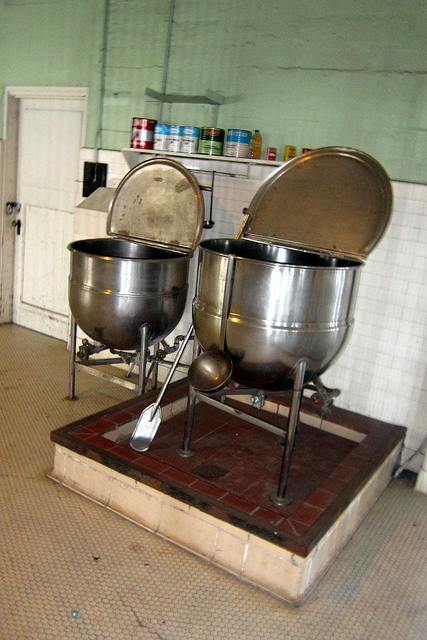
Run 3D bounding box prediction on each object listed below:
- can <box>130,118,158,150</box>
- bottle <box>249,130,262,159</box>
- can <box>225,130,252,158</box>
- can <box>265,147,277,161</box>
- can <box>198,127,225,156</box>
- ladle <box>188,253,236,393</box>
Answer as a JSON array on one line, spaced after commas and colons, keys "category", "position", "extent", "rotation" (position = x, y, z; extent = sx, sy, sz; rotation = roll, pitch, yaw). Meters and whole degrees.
[{"category": "can", "position": [-0.400, -1.104, 3.132], "extent": [0.179, 0.181, 0.172], "rotation": [17, 27, 17]}, {"category": "bottle", "position": [0.228, -0.940, 2.818], "extent": [0.062, 0.157, 0.150], "rotation": [10, 12, 5]}, {"category": "can", "position": [0.133, -0.930, 2.785], "extent": [0.140, 0.142, 0.136], "rotation": [15, 26, 16]}, {"category": "can", "position": [0.306, -0.876, 2.780], "extent": [0.053, 0.080, 0.144], "rotation": [9, 12, 3]}, {"category": "can", "position": [-0.003, -0.946, 2.824], "extent": [0.160, 0.160, 0.153], "rotation": [8, 20, 3]}, {"category": "ladle", "position": [0.018, 0.020, 1.762], "extent": [0.166, 0.477, 0.102], "rotation": [19, 16, 40]}]
